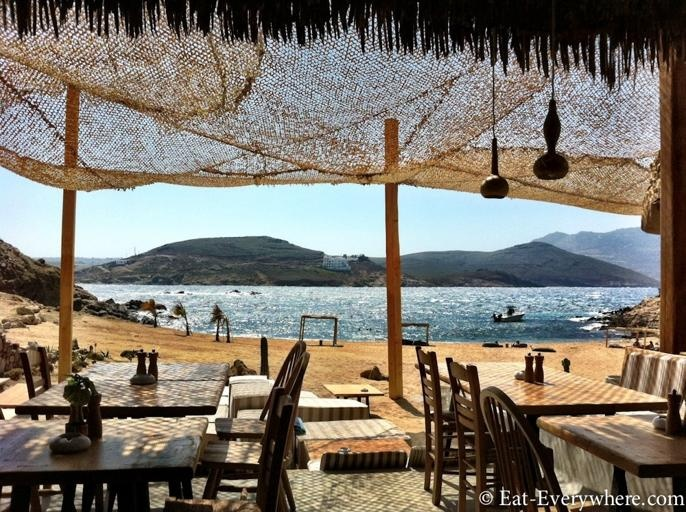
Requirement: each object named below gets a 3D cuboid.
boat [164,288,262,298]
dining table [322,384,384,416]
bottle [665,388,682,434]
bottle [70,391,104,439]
[{"bbox_3d":[-24.143,7.047,114.330,15.520,0.399,39.315,0,-2,-10],"label":"boat"},{"bbox_3d":[0.120,1.729,7.027,0.644,0.323,1.101,0,-2,-2],"label":"dining table"},{"bbox_3d":[1.908,0.880,3.325,0.089,0.260,0.257,-1,-2,30],"label":"bottle"},{"bbox_3d":[-1.334,0.835,3.028,0.141,0.251,0.050,1,-2,-22],"label":"bottle"}]
